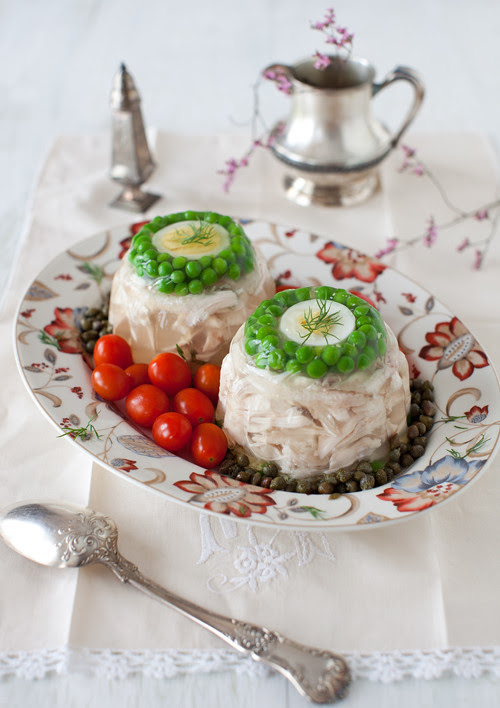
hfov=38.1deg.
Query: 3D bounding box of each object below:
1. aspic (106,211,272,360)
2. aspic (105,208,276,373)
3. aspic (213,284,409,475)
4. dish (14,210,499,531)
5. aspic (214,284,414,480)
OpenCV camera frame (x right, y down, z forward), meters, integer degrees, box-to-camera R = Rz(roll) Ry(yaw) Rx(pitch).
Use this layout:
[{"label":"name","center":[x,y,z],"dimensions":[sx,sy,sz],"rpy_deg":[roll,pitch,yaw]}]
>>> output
[{"label":"aspic","center":[-0.238,-0.346,2.963],"dimensions":[0.702,0.404,0.589],"rpy_deg":[0,31,-2]},{"label":"aspic","center":[-0.274,-0.255,3.026],"dimensions":[0.716,0.411,0.601],"rpy_deg":[0,31,-2]},{"label":"aspic","center":[0.204,0.026,2.634],"dimensions":[0.762,0.463,0.725],"rpy_deg":[22,25,22]},{"label":"dish","center":[0.278,0.006,2.588],"dimensions":[0.769,0.482,0.725],"rpy_deg":[-28,43,-23]},{"label":"aspic","center":[0.175,0.104,2.577],"dimensions":[0.735,0.455,0.625],"rpy_deg":[-6,41,-4]}]
